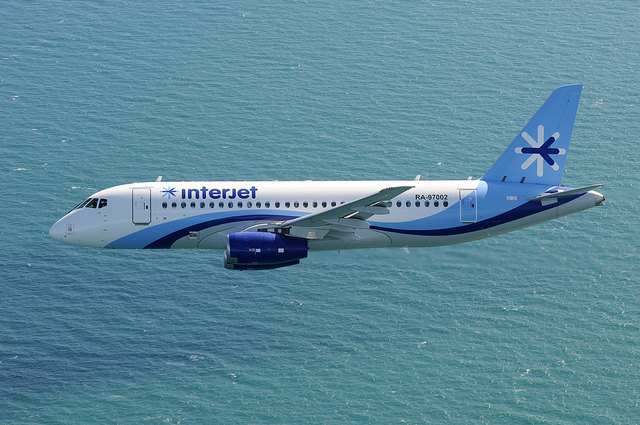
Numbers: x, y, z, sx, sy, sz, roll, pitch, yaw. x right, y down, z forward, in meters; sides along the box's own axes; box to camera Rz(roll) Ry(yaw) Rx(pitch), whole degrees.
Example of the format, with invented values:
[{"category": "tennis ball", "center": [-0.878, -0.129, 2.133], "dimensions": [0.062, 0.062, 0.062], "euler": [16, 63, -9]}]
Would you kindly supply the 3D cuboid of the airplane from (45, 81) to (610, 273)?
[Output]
[{"category": "airplane", "center": [2.073, -1.668, 105.736], "dimensions": [47.662, 15.098, 10.042], "euler": [-2, 44, -10]}]
